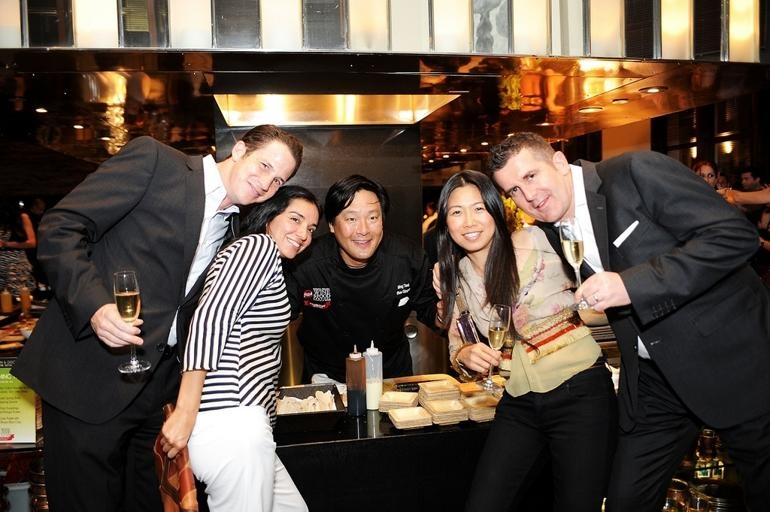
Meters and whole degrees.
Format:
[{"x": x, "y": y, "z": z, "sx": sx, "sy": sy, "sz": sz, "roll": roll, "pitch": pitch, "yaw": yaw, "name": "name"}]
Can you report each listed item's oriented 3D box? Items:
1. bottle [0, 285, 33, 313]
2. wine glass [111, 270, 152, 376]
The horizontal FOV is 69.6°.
[{"x": -4.007, "y": 0.477, "z": 6.010, "sx": 0.261, "sy": 0.236, "sz": 0.088, "roll": 0, "pitch": 4, "yaw": -24, "name": "bottle"}, {"x": -1.252, "y": 0.357, "z": 2.752, "sx": 0.146, "sy": 0.567, "sz": 0.273, "roll": -3, "pitch": 4, "yaw": -24, "name": "wine glass"}]
